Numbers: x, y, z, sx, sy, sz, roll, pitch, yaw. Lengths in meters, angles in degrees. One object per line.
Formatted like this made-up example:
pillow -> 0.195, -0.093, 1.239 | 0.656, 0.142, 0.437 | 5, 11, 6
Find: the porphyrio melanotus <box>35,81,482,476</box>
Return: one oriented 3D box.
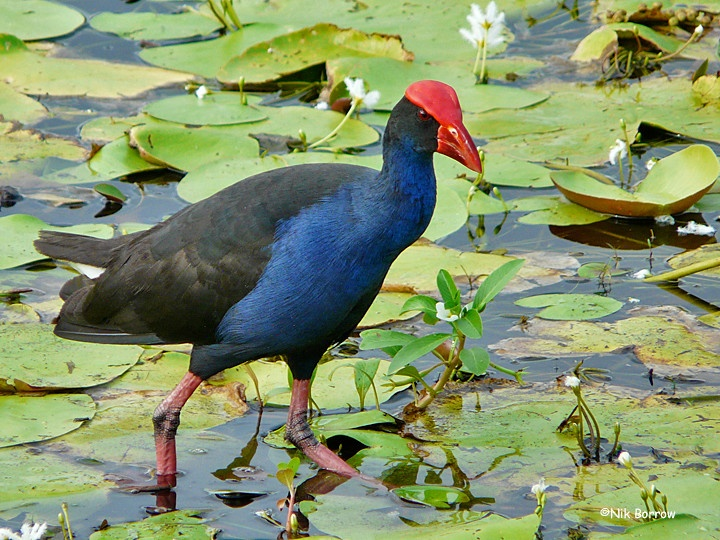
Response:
porphyrio melanotus -> -0.497, 0.019, 3.666 | 1.921, 1.811, 0.929 | 4, 27, 3
